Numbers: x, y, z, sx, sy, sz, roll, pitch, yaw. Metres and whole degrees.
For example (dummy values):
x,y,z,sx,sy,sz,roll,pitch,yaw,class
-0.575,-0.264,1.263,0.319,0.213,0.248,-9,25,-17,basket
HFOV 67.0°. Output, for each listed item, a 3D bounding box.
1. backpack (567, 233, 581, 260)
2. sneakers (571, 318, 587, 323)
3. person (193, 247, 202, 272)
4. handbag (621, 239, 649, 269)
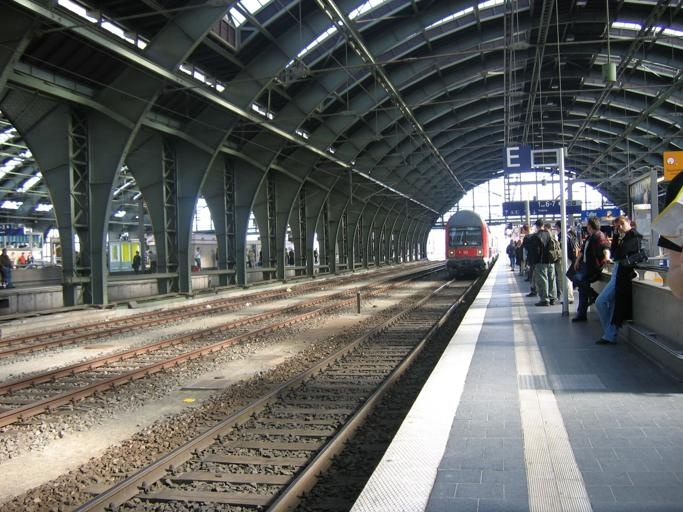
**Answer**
x,y,z,sx,sy,sz,roll,pitch,yaw,class
6.614,-0.264,14.624,0.256,0.264,0.797,7,31,11,backpack
5.439,1.441,11.740,0.335,0.154,0.119,2,1,3,sneakers
-11.274,0.171,39.619,0.386,1.122,1.366,7,20,-7,person
4.849,-0.031,8.498,0.458,0.484,0.208,-9,5,26,handbag
